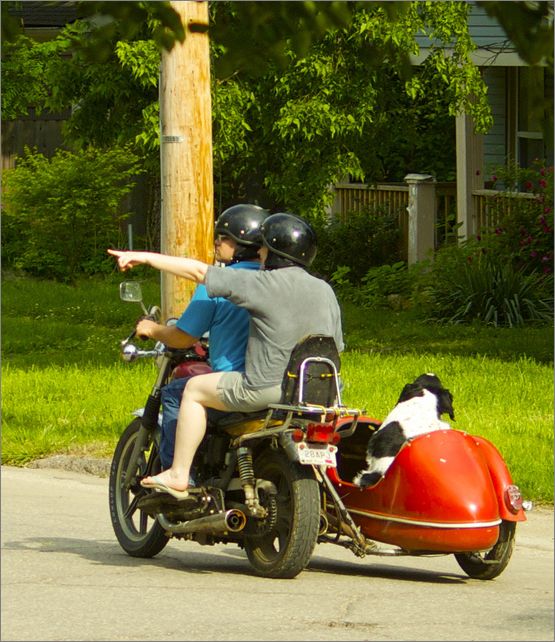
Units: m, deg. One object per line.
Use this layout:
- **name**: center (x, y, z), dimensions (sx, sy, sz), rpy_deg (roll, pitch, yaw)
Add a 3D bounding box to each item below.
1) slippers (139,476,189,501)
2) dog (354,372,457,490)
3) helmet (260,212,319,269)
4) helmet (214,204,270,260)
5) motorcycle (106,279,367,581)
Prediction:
- **slippers**: center (-0.490, 0.745, 4.960), dimensions (0.236, 0.059, 0.089), rpy_deg (22, -6, 22)
- **dog**: center (0.598, 0.501, 5.078), dimensions (0.458, 0.512, 0.413), rpy_deg (3, 0, -8)
- **helmet**: center (0.054, -0.353, 4.995), dimensions (0.219, 0.215, 0.254), rpy_deg (17, 26, -30)
- **helmet**: center (-0.148, -0.428, 5.257), dimensions (0.316, 0.256, 0.258), rpy_deg (2, 17, -9)
- **motorcycle**: center (-0.309, 0.529, 5.416), dimensions (1.033, 1.260, 1.912), rpy_deg (5, -4, -32)
